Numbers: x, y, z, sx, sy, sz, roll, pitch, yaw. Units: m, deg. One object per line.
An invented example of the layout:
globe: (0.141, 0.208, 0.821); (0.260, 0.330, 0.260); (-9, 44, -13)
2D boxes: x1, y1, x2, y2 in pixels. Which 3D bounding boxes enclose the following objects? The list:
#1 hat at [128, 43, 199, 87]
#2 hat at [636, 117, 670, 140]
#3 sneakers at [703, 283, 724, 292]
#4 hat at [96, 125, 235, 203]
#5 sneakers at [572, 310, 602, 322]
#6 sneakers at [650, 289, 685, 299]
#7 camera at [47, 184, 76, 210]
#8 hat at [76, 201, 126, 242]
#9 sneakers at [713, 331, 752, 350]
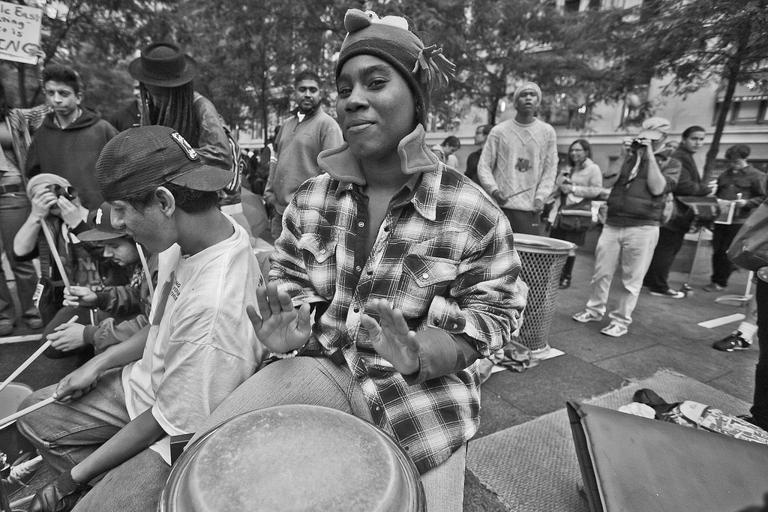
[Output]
hat: (-2.077, -1.807, 5.091); (0.524, 0.182, 0.461); (4, 44, -9)
hat: (3.266, -1.523, 6.451); (0.245, 0.140, 0.368); (20, 56, 33)
sneakers: (5.263, 0.495, 8.578); (0.272, 0.105, 0.143); (0, 5, -16)
hat: (-1.517, -0.681, 3.719); (0.879, 0.403, 0.564); (-5, 26, -3)
sneakers: (2.537, 0.760, 6.794); (0.415, 0.158, 0.151); (4, -2, -8)
sneakers: (4.270, 0.589, 8.163); (0.513, 0.182, 0.186); (-2, 6, 30)
camera: (-2.920, -0.532, 4.941); (0.196, 0.169, 0.262); (-7, 6, -2)
hat: (-2.308, -0.264, 4.370); (0.472, 0.252, 0.323); (-10, 19, -42)
sneakers: (3.939, 0.993, 6.186); (0.500, 0.211, 0.181); (0, -4, 1)
